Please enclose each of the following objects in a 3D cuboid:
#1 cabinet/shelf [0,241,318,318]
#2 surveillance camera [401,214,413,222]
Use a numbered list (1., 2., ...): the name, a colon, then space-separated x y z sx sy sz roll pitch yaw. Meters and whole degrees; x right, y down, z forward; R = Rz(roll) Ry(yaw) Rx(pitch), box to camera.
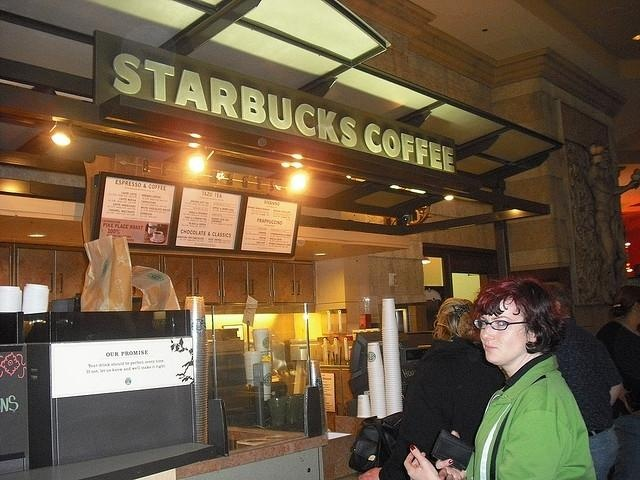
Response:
1. cabinet/shelf: -1.962 0.536 6.257 2.644 0.801 3.323 -5 -11 19
2. surveillance camera: 1.220 -0.302 6.492 0.122 0.110 0.087 -2 -11 3
